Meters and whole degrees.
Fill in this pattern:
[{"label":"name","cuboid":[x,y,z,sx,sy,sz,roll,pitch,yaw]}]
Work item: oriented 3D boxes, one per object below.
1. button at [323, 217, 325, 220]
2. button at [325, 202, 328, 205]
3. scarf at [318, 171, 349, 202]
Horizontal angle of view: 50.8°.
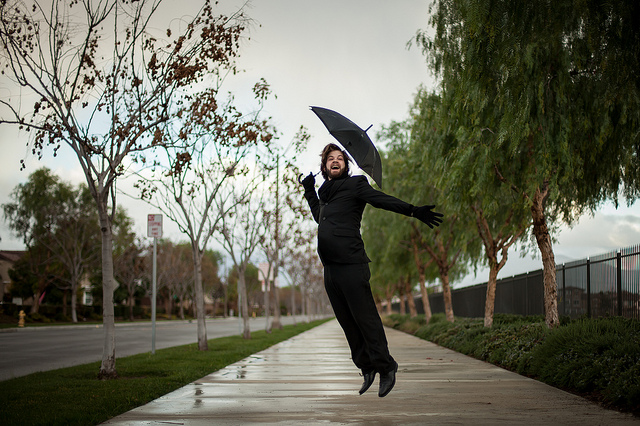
[{"label":"button","cuboid":[0.058,0.094,11.762,0.025,0.032,0.007,4,-4,13]},{"label":"button","cuboid":[0.106,-0.166,11.879,0.036,0.046,0.009,-2,-9,30]},{"label":"scarf","cuboid":[0.148,-0.502,11.939,0.335,0.544,0.254,3,-13,19]}]
